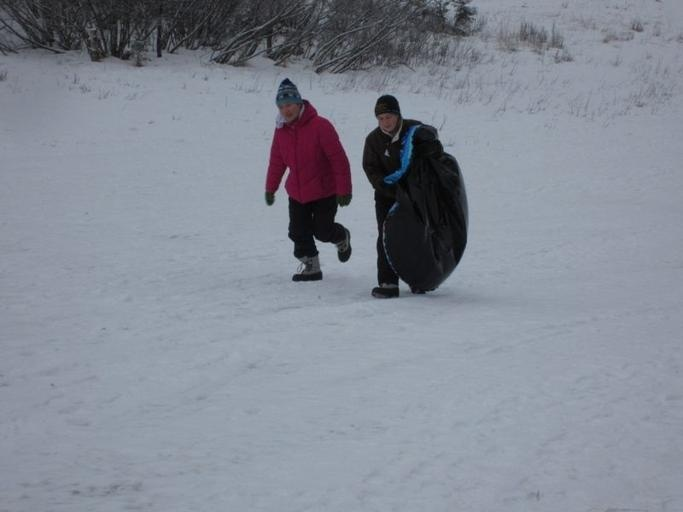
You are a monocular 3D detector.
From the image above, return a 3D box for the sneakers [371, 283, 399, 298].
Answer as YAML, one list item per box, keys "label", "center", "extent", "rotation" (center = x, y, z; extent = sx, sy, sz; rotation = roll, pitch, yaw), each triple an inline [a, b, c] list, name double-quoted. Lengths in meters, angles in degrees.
- label: "sneakers"
  center: [0.464, 0.366, 9.516]
  extent: [0.250, 0.144, 0.133]
  rotation: [5, -4, -2]

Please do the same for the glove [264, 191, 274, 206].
- label: "glove"
  center: [-0.819, -0.652, 10.209]
  extent: [0.125, 0.144, 0.057]
  rotation: [3, 8, -10]

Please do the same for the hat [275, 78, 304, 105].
- label: "hat"
  center: [-0.595, -1.777, 9.697]
  extent: [0.293, 0.306, 0.350]
  rotation: [-7, 7, 19]

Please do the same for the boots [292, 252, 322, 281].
- label: "boots"
  center: [-0.458, 0.149, 10.152]
  extent: [0.449, 0.362, 0.189]
  rotation: [0, 5, -11]

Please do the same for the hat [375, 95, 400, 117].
- label: "hat"
  center: [0.475, -1.529, 9.168]
  extent: [0.257, 0.204, 0.216]
  rotation: [-2, 7, -37]

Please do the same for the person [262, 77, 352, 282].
- label: "person"
  center: [-0.344, -0.727, 10.013]
  extent: [0.795, 2.236, 1.147]
  rotation: [-20, 47, -26]

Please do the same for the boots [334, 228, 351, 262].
- label: "boots"
  center: [-0.008, -0.100, 10.418]
  extent: [0.159, 0.412, 0.185]
  rotation: [6, 34, 17]
